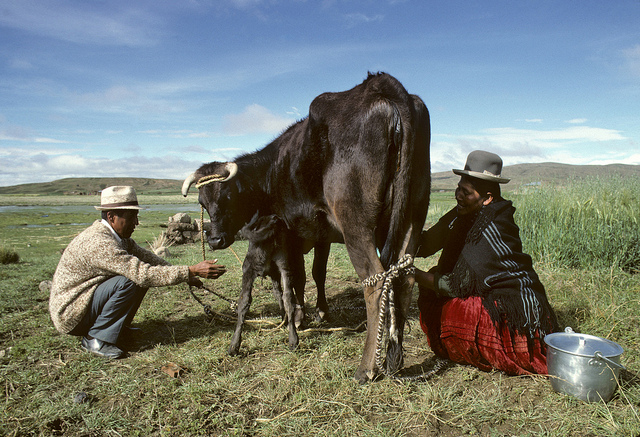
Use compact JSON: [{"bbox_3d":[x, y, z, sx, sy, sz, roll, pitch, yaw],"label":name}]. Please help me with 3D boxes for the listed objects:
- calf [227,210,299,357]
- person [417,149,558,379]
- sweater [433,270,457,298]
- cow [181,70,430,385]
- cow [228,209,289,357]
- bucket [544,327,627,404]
[{"bbox_3d":[-0.848,1.030,5.816,1.193,1.752,2.003,1,18,4],"label":"calf"},{"bbox_3d":[2.029,0.535,4.636,1.583,2.677,0.805,6,14,32],"label":"person"},{"bbox_3d":[1.530,0.830,4.717,0.259,0.286,0.332,4,1,17],"label":"sweater"},{"bbox_3d":[-0.351,0.190,6.255,1.421,3.530,4.947,-1,-3,-36],"label":"cow"},{"bbox_3d":[-0.882,0.822,7.011,1.126,2.532,3.673,1,-4,-6],"label":"cow"},{"bbox_3d":[2.889,1.605,4.136,0.756,0.688,0.510,-1,11,-1],"label":"bucket"}]
